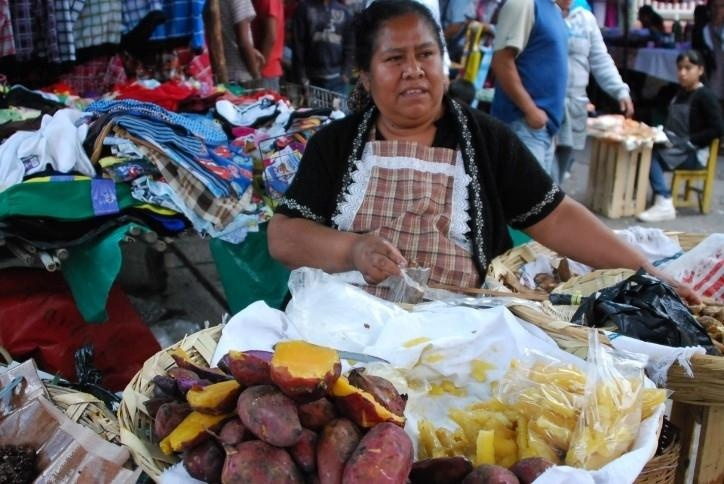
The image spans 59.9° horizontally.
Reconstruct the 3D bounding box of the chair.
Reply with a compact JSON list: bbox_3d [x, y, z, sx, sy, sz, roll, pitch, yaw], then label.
[{"bbox_3d":[2.893,-0.575,5.462,0.394,0.758,0.477,2,15,12],"label":"chair"}]

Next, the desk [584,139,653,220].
[{"bbox_3d":[2.213,-0.535,5.354,0.469,0.882,0.474,-1,26,6],"label":"desk"}]

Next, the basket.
[{"bbox_3d":[0.077,0.450,1.904,1.402,0.299,1.167,-1,31,-2],"label":"basket"}]
